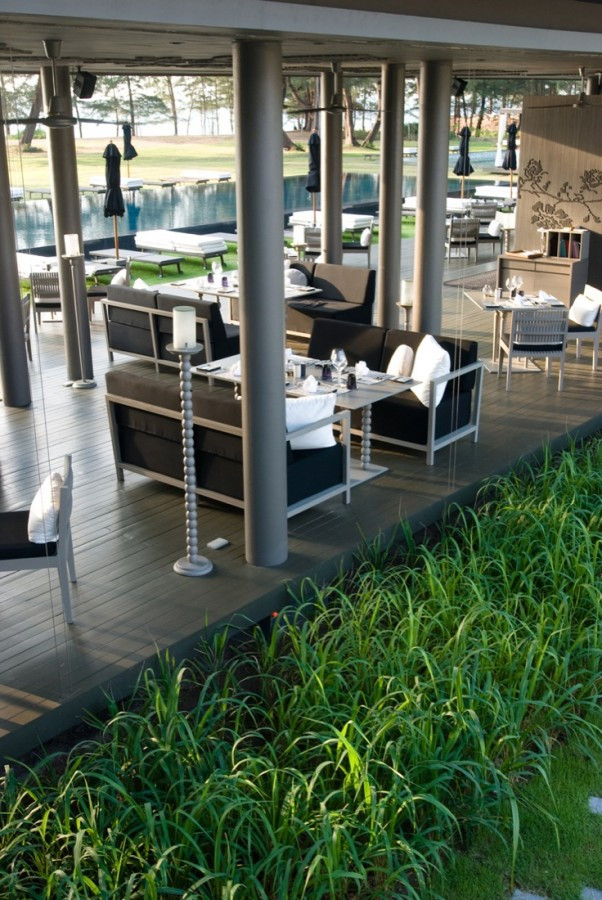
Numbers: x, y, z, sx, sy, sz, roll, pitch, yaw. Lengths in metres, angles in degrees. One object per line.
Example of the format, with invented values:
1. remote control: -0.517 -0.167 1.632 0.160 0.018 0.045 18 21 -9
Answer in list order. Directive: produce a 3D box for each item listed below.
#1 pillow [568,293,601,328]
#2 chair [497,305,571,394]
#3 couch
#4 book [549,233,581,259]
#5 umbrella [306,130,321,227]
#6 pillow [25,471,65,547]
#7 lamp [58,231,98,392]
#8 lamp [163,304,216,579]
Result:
1. pillow: 3.718 -1.849 8.740 0.348 0.332 0.435 1 22 13
2. chair: 2.935 -1.408 8.431 0.757 1.058 0.862 5 26 17
3. couch: 0.144 -0.301 5.850 2.338 1.014 2.496 16 28 32
4. book: 4.176 -3.280 10.482 0.365 0.350 0.153 18 28 37
5. umbrella: 0.260 -6.264 15.060 0.428 1.958 0.427 8 14 40
6. pillow: -1.368 0.311 3.572 0.207 0.382 0.232 -3 17 -15
7. lamp: -2.677 -1.631 7.915 0.374 1.859 0.704 -19 25 -35
8. lamp: -0.723 -0.056 4.253 0.328 1.719 0.319 13 20 29
